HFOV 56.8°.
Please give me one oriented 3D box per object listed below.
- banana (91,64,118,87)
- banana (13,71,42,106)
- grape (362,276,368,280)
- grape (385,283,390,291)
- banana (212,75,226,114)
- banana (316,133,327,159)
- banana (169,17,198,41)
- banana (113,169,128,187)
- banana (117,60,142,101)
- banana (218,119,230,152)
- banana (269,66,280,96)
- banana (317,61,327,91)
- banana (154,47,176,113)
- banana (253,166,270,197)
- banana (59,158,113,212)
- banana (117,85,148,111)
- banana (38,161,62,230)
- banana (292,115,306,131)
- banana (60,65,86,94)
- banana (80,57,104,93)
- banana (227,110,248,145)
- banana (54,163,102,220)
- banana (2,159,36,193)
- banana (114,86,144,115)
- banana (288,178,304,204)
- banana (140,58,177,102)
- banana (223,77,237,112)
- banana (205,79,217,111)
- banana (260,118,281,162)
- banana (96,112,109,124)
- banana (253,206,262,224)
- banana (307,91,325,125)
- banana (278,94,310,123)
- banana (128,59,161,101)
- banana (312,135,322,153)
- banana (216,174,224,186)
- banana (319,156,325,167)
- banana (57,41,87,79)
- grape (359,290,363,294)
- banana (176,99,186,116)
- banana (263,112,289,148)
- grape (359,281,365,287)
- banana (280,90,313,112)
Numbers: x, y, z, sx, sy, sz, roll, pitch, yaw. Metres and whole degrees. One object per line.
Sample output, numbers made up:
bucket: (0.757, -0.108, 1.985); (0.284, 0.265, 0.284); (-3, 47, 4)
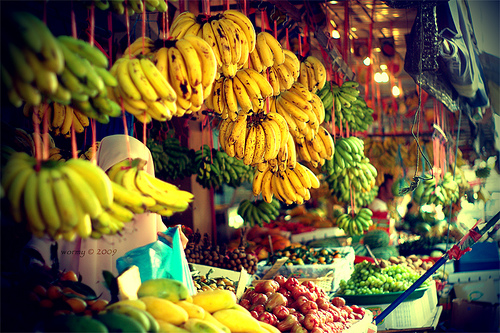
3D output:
banana: (-0.776, -0.481, 2.442); (0.056, 0.165, 0.046); (-49, 5, 12)
banana: (-1.132, -0.364, 2.334); (0.099, 0.386, 0.130); (7, -54, -35)
grape: (1.081, 1.064, 4.372); (0.045, 0.038, 0.039); (3, -3, 15)
grape: (1.271, 1.126, 4.287); (0.034, 0.048, 0.026); (7, -3, -13)
banana: (-0.219, -0.483, 3.169); (0.064, 0.278, 0.082); (0, -11, 34)
banana: (0.564, -0.146, 3.588); (0.061, 0.214, 0.051); (-16, 3, 28)
banana: (-0.445, -0.892, 3.030); (0.119, 0.214, 0.068); (19, -24, 27)
banana: (-0.733, 0.060, 2.611); (0.044, 0.127, 0.032); (22, -23, -2)
banana: (-0.679, -0.490, 2.581); (0.149, 0.184, 0.079); (2, -3, 31)
banana: (-0.191, -0.239, 3.327); (0.077, 0.264, 0.056); (9, 6, 16)
banana: (0.172, -0.631, 3.351); (0.051, 0.220, 0.067); (-6, -4, -17)
banana: (0.570, -0.728, 3.693); (0.061, 0.227, 0.159); (3, -3, 7)
banana: (-0.477, -0.496, 2.726); (0.105, 0.445, 0.132); (-2, -14, -33)
banana: (0.054, 0.125, 3.500); (0.086, 0.288, 0.071); (17, 4, -31)
banana: (-0.813, 0.071, 2.407); (0.206, 0.292, 0.081); (-29, -3, -19)
banana: (-0.653, -0.392, 2.569); (0.032, 0.164, 0.058); (-20, 30, 43)
banana: (-1.025, 0.171, 2.342); (0.068, 0.385, 0.120); (-11, -9, 9)
banana: (0.357, -0.313, 3.392); (0.038, 0.142, 0.048); (-32, -6, -38)
banana: (-0.908, -0.455, 2.355); (0.034, 0.141, 0.046); (-21, 19, 33)
banana: (-0.824, -0.476, 2.385); (0.053, 0.203, 0.039); (-40, 4, -28)
banana: (-0.085, -0.274, 3.256); (0.082, 0.301, 0.091); (23, -15, -19)
banana: (-0.877, 0.115, 2.545); (0.101, 0.180, 0.504); (13, 4, 6)
banana: (-1.219, 0.068, 2.420); (0.117, 0.179, 0.059); (8, -16, -2)
banana: (-0.678, -0.378, 2.569); (0.031, 0.187, 0.067); (-6, 35, 46)
banana: (0.331, 0.197, 3.388); (0.039, 0.154, 0.050); (-25, -11, 10)
banana: (-0.529, -0.517, 2.599); (0.286, 0.086, 0.095); (-38, -21, -4)
banana: (-0.144, -0.489, 3.116); (0.078, 0.275, 0.068); (-5, -4, -17)
banana: (-0.281, -0.476, 3.191); (0.071, 0.257, 0.064); (9, 9, 17)
banana: (0.159, -0.197, 3.179); (0.172, 0.233, 0.069); (-1, 1, -12)
banana: (-0.793, -0.264, 2.515); (0.048, 0.054, 0.014); (-15, 10, -6)
banana: (0.071, 0.511, 4.783); (0.064, 0.212, 0.042); (-20, -11, -2)
banana: (0.463, -0.443, 3.513); (0.073, 0.235, 0.126); (-36, -11, 34)
banana: (0.325, -0.424, 3.379); (0.053, 0.243, 0.083); (-50, -23, 5)
banana: (-0.615, -0.501, 2.623); (0.135, 0.121, 0.441); (-11, -18, -17)
banana: (0.503, -0.160, 3.513); (0.038, 0.147, 0.046); (-13, 18, 36)
banana: (-0.303, 0.135, 4.557); (0.055, 0.102, 0.021); (-6, 11, -33)
banana: (0.574, -0.042, 3.702); (0.026, 0.029, 0.097); (19, -31, 25)
banana: (-0.915, -0.545, 2.356); (0.049, 0.200, 0.058); (-31, 7, 21)
grape: (1.012, 1.157, 4.226); (0.030, 0.025, 0.049); (4, -3, 11)
banana: (-0.415, -0.349, 2.727); (0.069, 0.074, 0.036); (-27, 2, -38)
banana: (0.185, -0.254, 3.288); (0.176, 0.230, 0.068); (-17, 1, -24)
grape: (1.042, 1.103, 4.308); (0.048, 0.048, 0.042); (4, -3, 6)
banana: (0.341, -0.484, 3.406); (0.046, 0.182, 0.058); (-47, -15, -26)
